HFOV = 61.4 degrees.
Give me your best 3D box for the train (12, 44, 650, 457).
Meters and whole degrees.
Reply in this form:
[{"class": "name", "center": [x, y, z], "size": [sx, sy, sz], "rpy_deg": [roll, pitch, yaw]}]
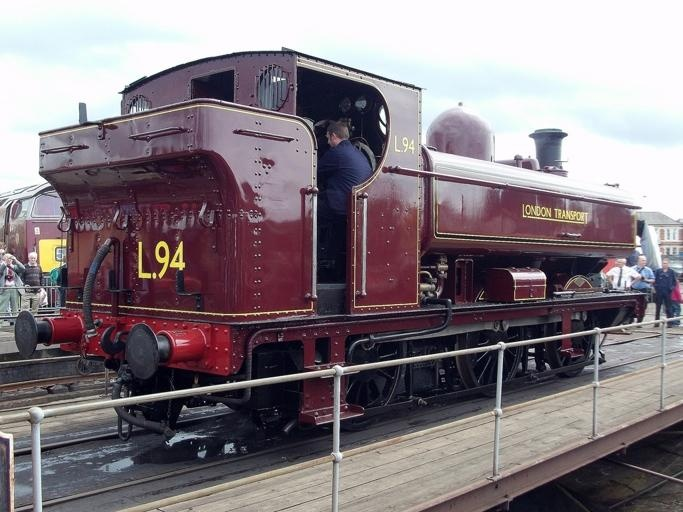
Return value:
[{"class": "train", "center": [0.806, -0.562, 9.844], "size": [10.059, 4.324, 4.512], "rpy_deg": [-5, 5, -44]}]
